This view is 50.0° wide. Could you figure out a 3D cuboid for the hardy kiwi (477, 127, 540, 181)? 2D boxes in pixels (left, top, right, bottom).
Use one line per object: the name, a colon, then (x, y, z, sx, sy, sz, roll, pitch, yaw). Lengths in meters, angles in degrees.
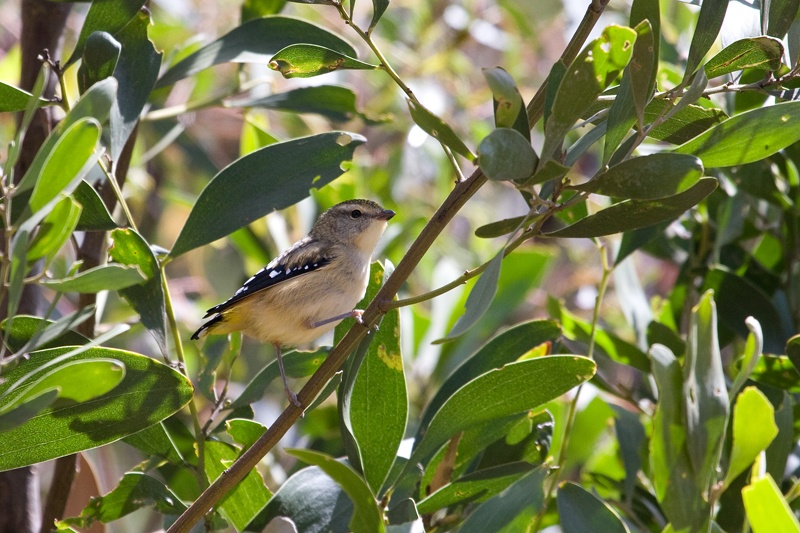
hardy kiwi: (0.280, -0.291, 2.269, 0.057, 0.158, 0.187, 7, -25, 50)
